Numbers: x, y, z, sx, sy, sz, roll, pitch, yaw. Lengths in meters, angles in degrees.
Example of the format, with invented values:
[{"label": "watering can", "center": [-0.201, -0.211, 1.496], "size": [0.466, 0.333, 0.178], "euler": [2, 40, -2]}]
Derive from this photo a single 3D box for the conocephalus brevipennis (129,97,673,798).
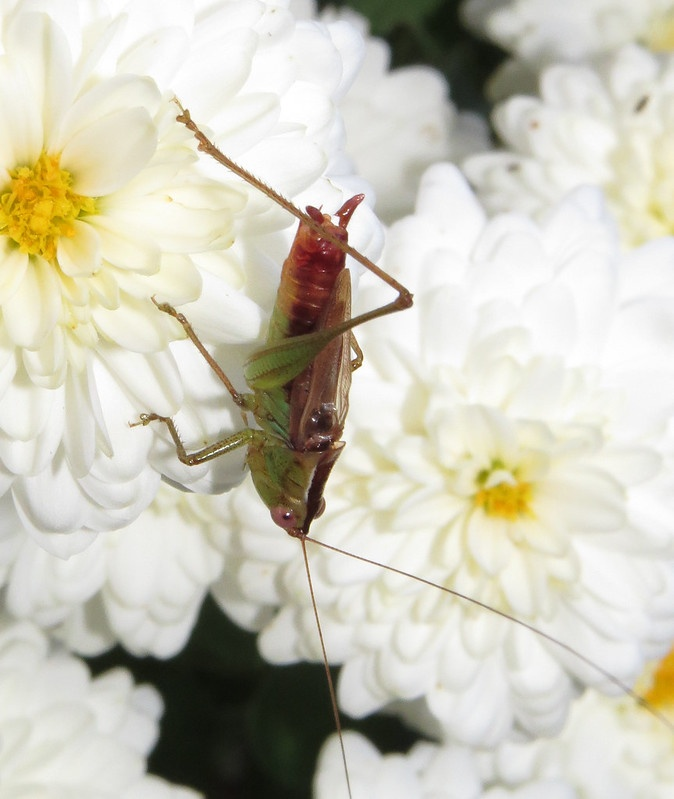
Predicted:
[{"label": "conocephalus brevipennis", "center": [0.061, 0.029, 0.829], "size": [0.383, 0.448, 0.270], "euler": [0, 5, 35]}]
